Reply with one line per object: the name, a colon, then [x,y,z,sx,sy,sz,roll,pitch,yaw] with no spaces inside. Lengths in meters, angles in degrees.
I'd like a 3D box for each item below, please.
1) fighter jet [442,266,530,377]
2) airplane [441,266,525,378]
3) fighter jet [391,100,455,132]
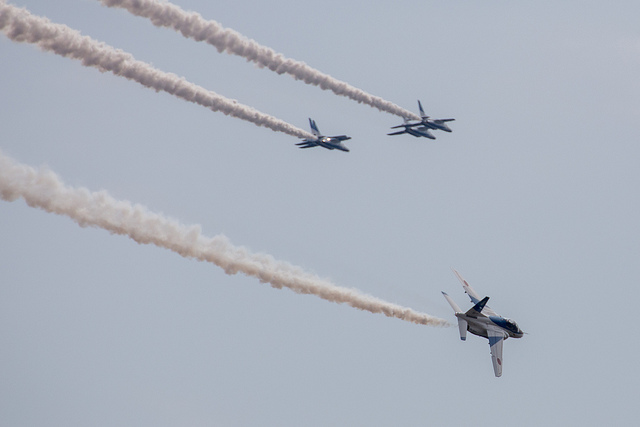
fighter jet: [8.739,5.506,67.699,4.694,7.061,2.291,5,-56,-25]
airplane: [8.808,5.215,67.510,4.268,6.981,2.613,5,-55,-23]
fighter jet: [6.117,-5.104,70.488,2.146,1.006,2.573,18,-2,-19]
